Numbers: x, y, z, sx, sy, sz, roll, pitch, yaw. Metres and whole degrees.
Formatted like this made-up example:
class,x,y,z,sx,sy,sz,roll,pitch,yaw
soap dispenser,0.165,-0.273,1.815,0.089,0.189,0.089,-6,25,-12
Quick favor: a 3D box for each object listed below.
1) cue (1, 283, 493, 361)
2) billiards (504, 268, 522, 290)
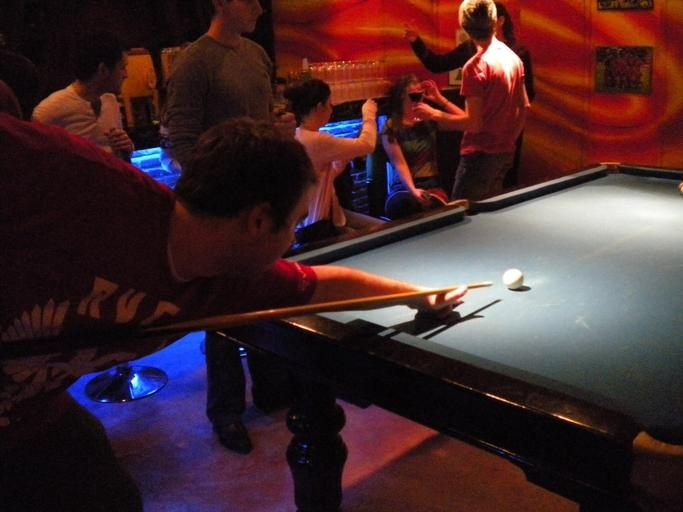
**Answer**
class,x,y,z,sx,sy,sz,roll,pitch,yaw
cue,-0.194,0.158,1.278,1.039,0.146,0.192,-8,22,-27
billiards,0.551,0.075,1.765,0.059,0.061,0.035,4,-13,29
